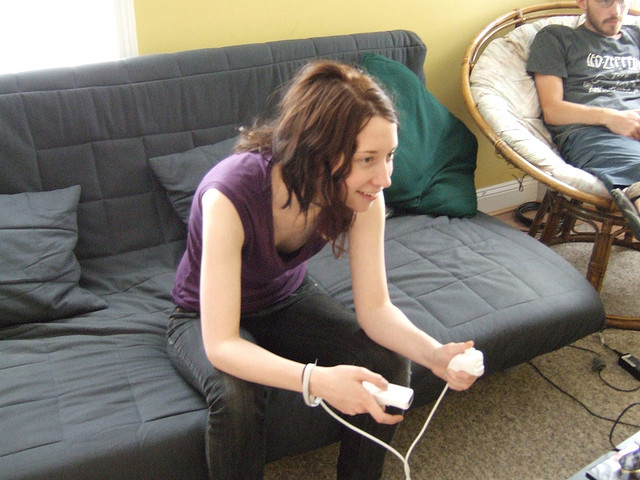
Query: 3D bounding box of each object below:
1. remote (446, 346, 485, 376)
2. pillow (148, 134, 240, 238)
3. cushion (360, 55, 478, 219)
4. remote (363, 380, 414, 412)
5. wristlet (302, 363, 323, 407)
[{"bbox_3d":[0.349,0.289,1.217,0.078,0.044,0.049,-1,29,43],"label":"remote"},{"bbox_3d":[-0.489,-0.253,1.884,0.461,0.323,0.128,-16,-13,-25],"label":"pillow"},{"bbox_3d":[0.454,-0.469,2.222,0.514,0.702,0.385,-4,23,5],"label":"cushion"},{"bbox_3d":[0.156,0.343,1.151,0.109,0.028,0.055,20,28,23],"label":"remote"},{"bbox_3d":[-0.017,0.340,1.151,0.018,0.082,0.080,1,24,16],"label":"wristlet"}]
